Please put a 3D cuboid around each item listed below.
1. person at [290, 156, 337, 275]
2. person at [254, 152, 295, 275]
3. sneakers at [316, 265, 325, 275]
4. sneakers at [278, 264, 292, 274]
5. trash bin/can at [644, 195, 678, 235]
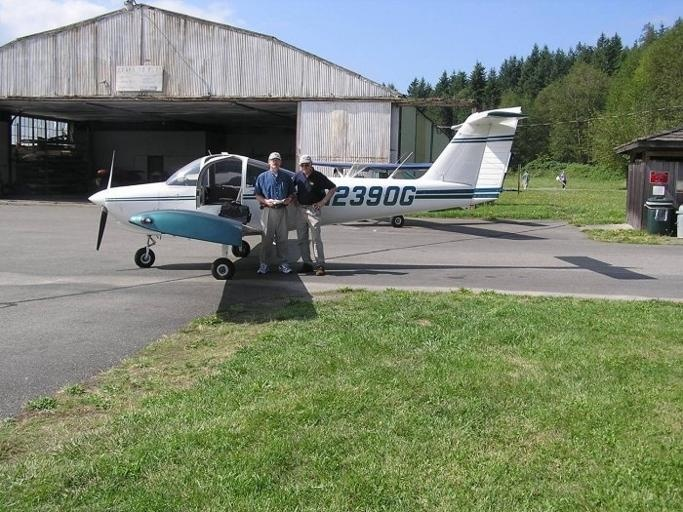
[{"bbox_3d":[-0.430,-0.603,9.990,0.661,1.830,0.494,11,17,37],"label":"person"},{"bbox_3d":[-1.015,-0.630,9.919,0.576,1.899,0.739,-1,14,-6],"label":"person"},{"bbox_3d":[-0.316,0.230,9.941,0.132,0.131,0.124,6,8,39],"label":"sneakers"},{"bbox_3d":[-0.870,0.208,9.989,0.092,0.126,0.284,-5,1,-36],"label":"sneakers"},{"bbox_3d":[7.914,-0.988,15.868,0.729,0.867,0.827,7,15,26],"label":"trash bin/can"}]
